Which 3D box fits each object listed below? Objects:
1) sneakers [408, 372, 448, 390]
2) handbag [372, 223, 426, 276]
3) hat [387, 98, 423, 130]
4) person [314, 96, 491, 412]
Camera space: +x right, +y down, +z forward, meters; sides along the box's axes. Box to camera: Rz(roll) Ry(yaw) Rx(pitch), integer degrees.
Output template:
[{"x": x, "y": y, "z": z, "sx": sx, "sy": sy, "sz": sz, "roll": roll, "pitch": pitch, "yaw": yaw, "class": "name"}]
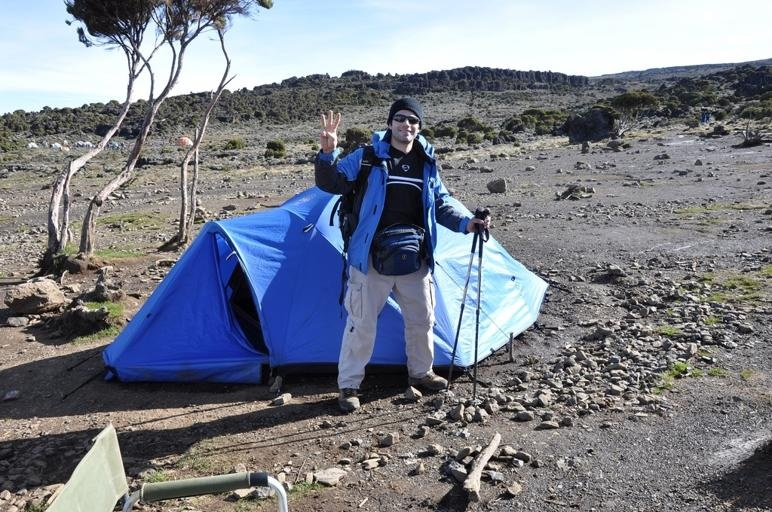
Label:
[{"x": 0.529, "y": 1.578, "z": 7.113, "sx": 0.495, "sy": 0.194, "sz": 0.196, "roll": 0, "pitch": 10, "yaw": 4, "class": "sneakers"}, {"x": 0.158, "y": -0.080, "z": 6.706, "sx": 0.692, "sy": 0.579, "sz": 0.382, "roll": -7, "pitch": 17, "yaw": -26, "class": "handbag"}, {"x": 0.244, "y": -1.697, "z": 6.764, "sx": 0.398, "sy": 0.278, "sz": 0.373, "roll": 2, "pitch": 1, "yaw": -2, "class": "hat"}, {"x": 0.097, "y": -0.015, "z": 6.796, "sx": 1.725, "sy": 3.583, "sz": 0.903, "roll": -6, "pitch": 16, "yaw": -6, "class": "person"}]
